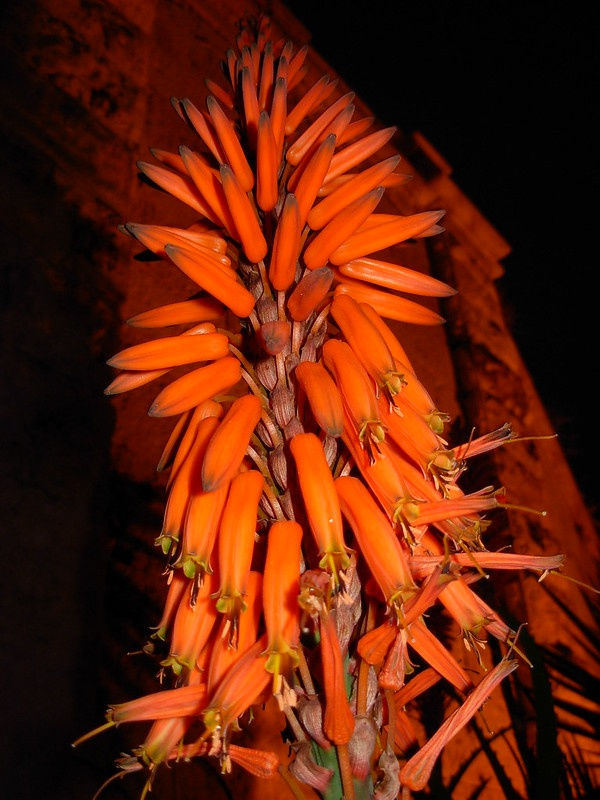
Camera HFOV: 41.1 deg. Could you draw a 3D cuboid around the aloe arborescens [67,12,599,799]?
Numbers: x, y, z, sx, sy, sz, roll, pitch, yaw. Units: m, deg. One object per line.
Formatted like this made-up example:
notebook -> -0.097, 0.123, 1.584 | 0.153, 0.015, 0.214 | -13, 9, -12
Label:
aloe arborescens -> 0.051, -0.085, 1.300 | 0.779, 1.378, 0.374 | 7, -12, 14
